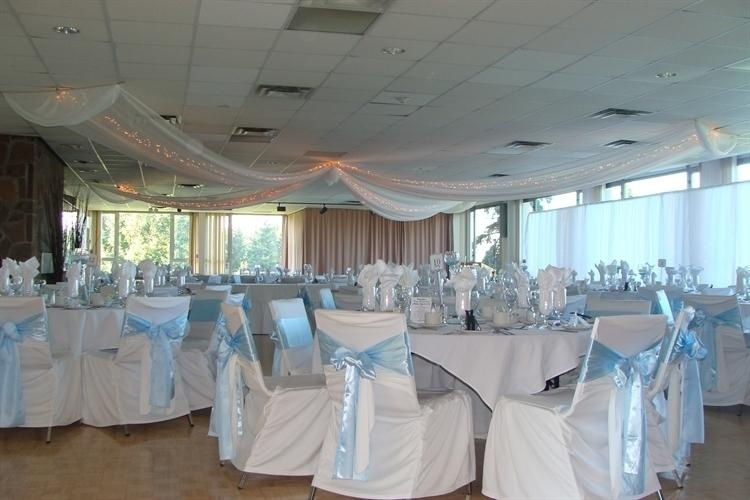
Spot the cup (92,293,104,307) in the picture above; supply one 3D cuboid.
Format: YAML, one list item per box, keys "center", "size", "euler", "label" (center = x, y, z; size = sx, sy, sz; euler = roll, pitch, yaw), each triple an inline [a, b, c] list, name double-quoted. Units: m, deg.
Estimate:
- center: [-2.766, 0.512, 5.251]
  size: [0.132, 0.127, 0.131]
  euler: [-2, -8, 0]
  label: "cup"

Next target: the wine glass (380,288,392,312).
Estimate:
- center: [0.077, 0.392, 4.092]
  size: [0.099, 0.165, 0.121]
  euler: [-6, 9, -4]
  label: "wine glass"

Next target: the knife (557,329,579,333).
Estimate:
- center: [1.408, 0.595, 3.872]
  size: [0.042, 0.030, 0.308]
  euler: [2, -5, 36]
  label: "knife"

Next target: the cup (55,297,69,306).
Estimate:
- center: [-3.000, 0.499, 5.046]
  size: [0.098, 0.064, 0.093]
  euler: [2, -7, 0]
  label: "cup"

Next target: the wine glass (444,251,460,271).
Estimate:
- center: [0.979, 0.150, 6.828]
  size: [0.168, 0.227, 0.402]
  euler: [-4, 7, 7]
  label: "wine glass"

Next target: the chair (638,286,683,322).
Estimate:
- center: [2.786, 0.537, 5.188]
  size: [0.314, 0.339, 0.299]
  euler: [1, 13, 2]
  label: "chair"

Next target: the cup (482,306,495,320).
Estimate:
- center: [0.950, 0.542, 4.468]
  size: [0.112, 0.072, 0.106]
  euler: [0, -6, 0]
  label: "cup"

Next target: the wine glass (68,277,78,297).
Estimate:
- center: [-3.004, 0.378, 5.238]
  size: [0.105, 0.181, 0.129]
  euler: [-8, 9, -17]
  label: "wine glass"

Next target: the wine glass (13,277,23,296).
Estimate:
- center: [-3.817, 0.392, 5.628]
  size: [0.093, 0.129, 0.556]
  euler: [-11, 10, -35]
  label: "wine glass"

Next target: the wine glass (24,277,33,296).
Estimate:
- center: [-3.471, 0.370, 5.275]
  size: [0.099, 0.169, 0.095]
  euler: [-11, 11, -33]
  label: "wine glass"

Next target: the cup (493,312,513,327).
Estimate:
- center: [0.978, 0.546, 4.064]
  size: [0.115, 0.070, 0.109]
  euler: [0, -8, 0]
  label: "cup"

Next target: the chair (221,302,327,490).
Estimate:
- center: [-0.625, 1.081, 4.061]
  size: [0.978, 1.165, 0.888]
  euler: [2, -7, -10]
  label: "chair"

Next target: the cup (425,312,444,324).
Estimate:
- center: [0.434, 0.527, 4.054]
  size: [0.102, 0.065, 0.097]
  euler: [-1, -4, 0]
  label: "cup"

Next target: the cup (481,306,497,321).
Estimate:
- center: [0.951, 0.543, 4.442]
  size: [0.116, 0.076, 0.109]
  euler: [0, -6, 0]
  label: "cup"

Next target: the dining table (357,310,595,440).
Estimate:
- center: [0.720, 1.065, 4.391]
  size: [2.152, 0.722, 1.837]
  euler: [1, -16, -27]
  label: "dining table"

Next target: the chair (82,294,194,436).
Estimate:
- center: [-2.215, 1.060, 4.979]
  size: [0.865, 1.142, 0.930]
  euler: [-6, -8, 40]
  label: "chair"
